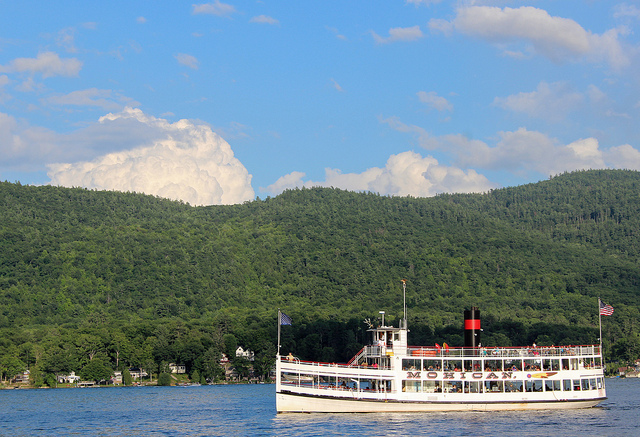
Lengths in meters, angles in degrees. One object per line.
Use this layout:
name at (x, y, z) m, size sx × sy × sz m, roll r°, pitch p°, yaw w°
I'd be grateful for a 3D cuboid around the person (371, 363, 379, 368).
person at (14.175, 35.881, 325.764) m, size 1.411 × 0.685 × 1.222 m, roll 2°, pitch 8°, yaw 14°
